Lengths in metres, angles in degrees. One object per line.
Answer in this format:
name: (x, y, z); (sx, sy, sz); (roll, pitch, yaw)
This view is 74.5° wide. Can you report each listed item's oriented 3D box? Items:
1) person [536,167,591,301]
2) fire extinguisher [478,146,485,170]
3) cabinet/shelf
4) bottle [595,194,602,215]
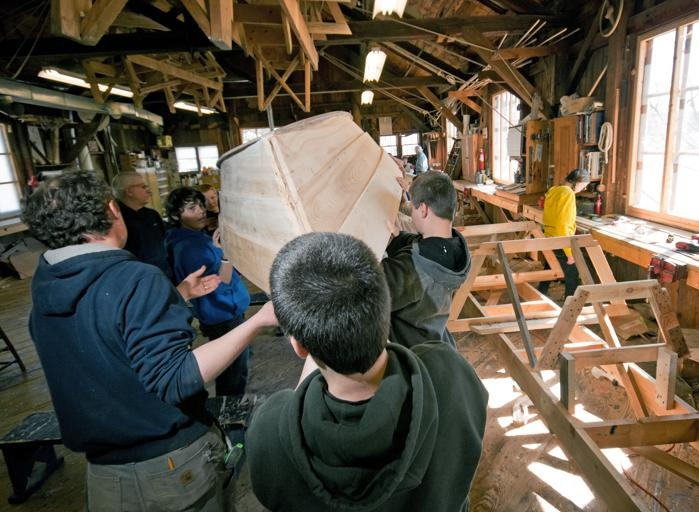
person: (2.324, -0.186, 5.065); (0.428, 1.502, 0.875); (5, 13, 26)
fire extinguisher: (2.559, -1.878, 8.935); (0.116, 0.431, 0.273); (5, 13, 25)
cabinet/shelf: (2.640, -1.311, 5.851); (0.497, 1.342, 1.425); (-2, 15, 4)
bottle: (2.892, -0.602, 5.368); (0.066, 0.229, 0.040); (5, 13, 28)
